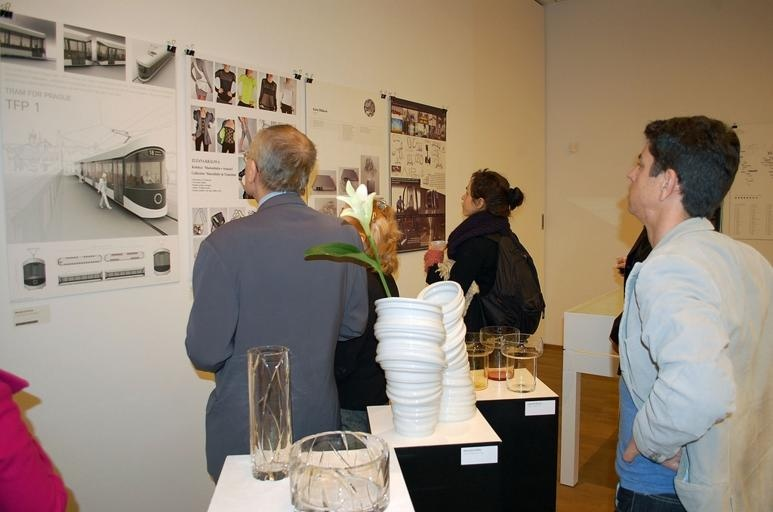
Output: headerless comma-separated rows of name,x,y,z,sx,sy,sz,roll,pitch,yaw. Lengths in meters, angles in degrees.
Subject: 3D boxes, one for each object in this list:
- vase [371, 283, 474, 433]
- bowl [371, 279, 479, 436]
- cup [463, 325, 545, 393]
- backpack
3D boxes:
vase,0.177,0.410,2.241,0.229,0.603,0.437,7,8,43
bowl,0.174,0.384,2.440,0.542,0.631,0.453,-7,9,-21
cup,0.566,0.402,2.650,0.421,0.317,0.273,0,0,3
backpack,0.846,0.205,3.830,0.483,0.720,0.395,-3,-1,-45
